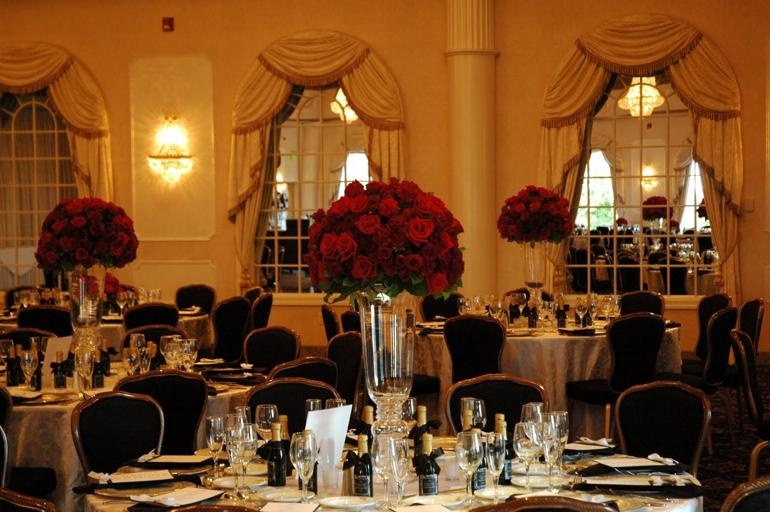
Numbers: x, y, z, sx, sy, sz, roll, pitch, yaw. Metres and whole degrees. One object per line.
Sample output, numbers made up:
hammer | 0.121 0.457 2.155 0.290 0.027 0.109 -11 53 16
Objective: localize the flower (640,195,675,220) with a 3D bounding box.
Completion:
flower | 3.705 -0.627 11.407 0.317 0.375 0.308 0 -1 -44

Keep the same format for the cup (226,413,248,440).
cup | -0.843 0.969 4.703 0.104 0.122 0.116 1 -7 -7

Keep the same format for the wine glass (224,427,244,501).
wine glass | -0.860 1.177 4.711 0.086 0.426 0.196 1 -7 -10

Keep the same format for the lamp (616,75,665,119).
lamp | 3.473 -2.141 11.341 0.454 0.514 0.509 0 -2 7

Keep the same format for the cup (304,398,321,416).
cup | -0.433 0.893 4.938 0.096 0.114 0.107 0 -7 0

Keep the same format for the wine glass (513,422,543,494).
wine glass | 0.818 1.156 4.822 0.152 0.386 0.306 -1 -7 9

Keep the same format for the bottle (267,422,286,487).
bottle | -0.629 1.157 4.833 0.102 0.365 0.179 1 -7 -8

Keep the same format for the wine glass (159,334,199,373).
wine glass | -1.583 0.763 6.416 0.248 0.338 0.280 0 -5 -5

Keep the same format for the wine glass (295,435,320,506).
wine glass | -0.444 1.174 4.644 0.120 0.392 0.258 0 -7 0

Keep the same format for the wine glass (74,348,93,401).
wine glass | -2.242 0.881 6.182 0.125 0.357 0.310 2 -8 -21

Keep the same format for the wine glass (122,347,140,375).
wine glass | -1.945 0.818 6.370 0.118 0.200 0.239 2 -8 -20

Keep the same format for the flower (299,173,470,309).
flower | 0.013 -0.065 4.948 0.698 0.735 0.733 1 5 40

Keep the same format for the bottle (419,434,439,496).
bottle | 0.256 1.202 4.818 0.112 0.337 0.326 -2 -8 13

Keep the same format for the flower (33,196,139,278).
flower | -2.697 -0.113 7.493 0.645 0.792 0.683 -1 -3 -28

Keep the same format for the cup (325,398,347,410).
cup | -0.297 0.875 4.901 0.076 0.090 0.085 1 -7 -6

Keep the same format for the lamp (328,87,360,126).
lamp | -0.608 -2.137 11.942 0.407 0.502 0.131 11 12 15

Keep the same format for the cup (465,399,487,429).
cup | 0.559 0.963 5.048 0.138 0.232 0.155 -1 3 6

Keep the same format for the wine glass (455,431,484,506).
wine glass | 0.472 1.173 4.636 0.139 0.410 0.309 -1 -7 7

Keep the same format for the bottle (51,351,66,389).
bottle | -2.486 0.875 6.321 0.101 0.273 0.231 3 -8 -24

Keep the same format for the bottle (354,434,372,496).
bottle | -0.130 1.194 4.741 0.117 0.344 0.250 0 -7 -2

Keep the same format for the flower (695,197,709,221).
flower | 4.257 -0.610 11.207 0.199 0.243 0.209 -13 -4 23

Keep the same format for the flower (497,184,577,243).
flower | 1.517 -0.410 8.621 0.556 0.603 0.618 -3 4 -7

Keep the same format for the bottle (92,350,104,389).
bottle | -2.221 0.886 6.435 0.085 0.288 0.286 2 -8 -19

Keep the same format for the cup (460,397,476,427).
cup | 0.487 0.933 4.906 0.069 0.167 0.166 -1 -8 7

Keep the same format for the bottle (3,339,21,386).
bottle | -2.891 0.842 6.462 0.127 0.348 0.232 3 -8 -23
